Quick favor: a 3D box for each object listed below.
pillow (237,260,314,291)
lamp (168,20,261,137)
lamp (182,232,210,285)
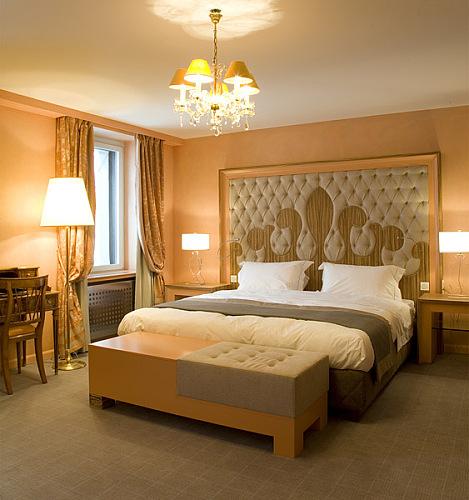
[{"bbox_3d":[0.486,0.307,4.719,0.880,0.336,0.425,-1,-2,7],"label":"pillow"},{"bbox_3d":[-0.106,-1.142,2.511,0.530,0.691,0.535,5,8,38],"label":"lamp"},{"bbox_3d":[-0.514,0.127,5.406,0.373,0.662,0.665,0,-2,-7],"label":"lamp"}]
